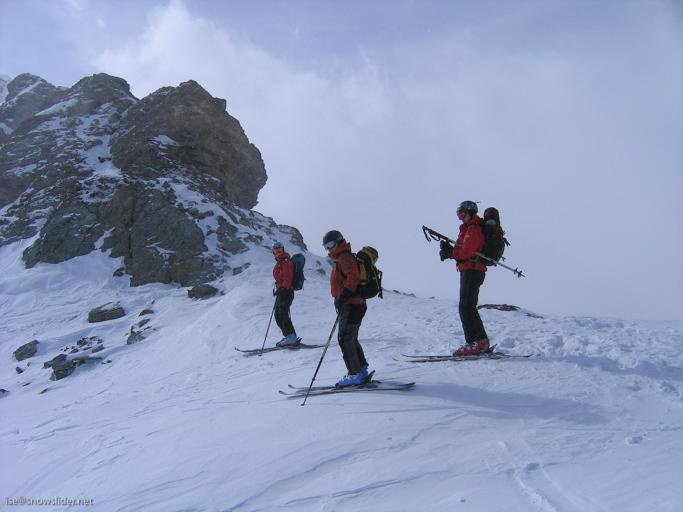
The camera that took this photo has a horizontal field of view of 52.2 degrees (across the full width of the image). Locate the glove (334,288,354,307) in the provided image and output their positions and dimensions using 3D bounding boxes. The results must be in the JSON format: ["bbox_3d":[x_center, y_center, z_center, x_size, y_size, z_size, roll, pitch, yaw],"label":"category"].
[{"bbox_3d":[0.033,1.392,22.128,0.613,0.315,0.465,-42,-4,30],"label":"glove"}]

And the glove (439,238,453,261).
[{"bbox_3d":[3.050,-0.144,20.296,0.465,0.624,0.240,-10,-22,37],"label":"glove"}]

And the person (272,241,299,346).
[{"bbox_3d":[-2.144,1.449,26.138,0.998,3.914,0.936,3,-6,-6],"label":"person"}]
